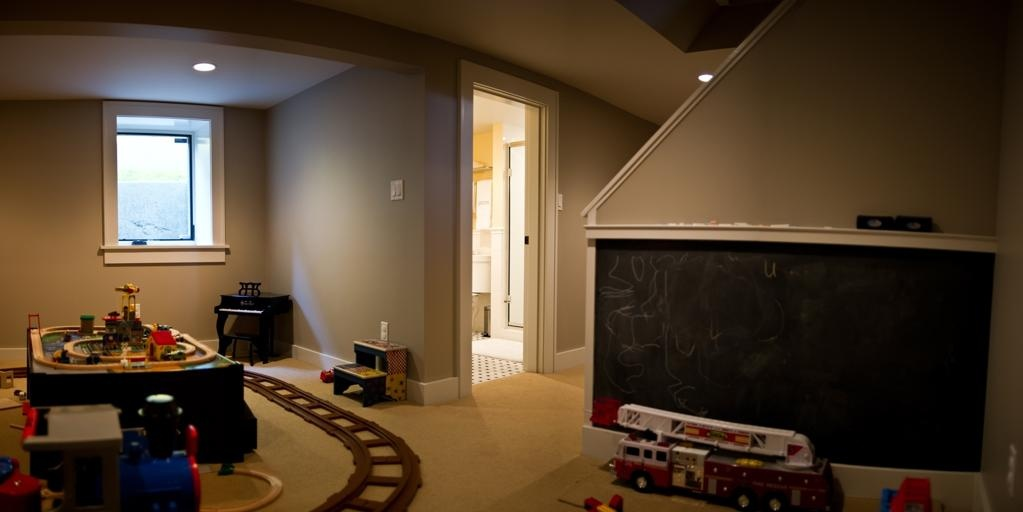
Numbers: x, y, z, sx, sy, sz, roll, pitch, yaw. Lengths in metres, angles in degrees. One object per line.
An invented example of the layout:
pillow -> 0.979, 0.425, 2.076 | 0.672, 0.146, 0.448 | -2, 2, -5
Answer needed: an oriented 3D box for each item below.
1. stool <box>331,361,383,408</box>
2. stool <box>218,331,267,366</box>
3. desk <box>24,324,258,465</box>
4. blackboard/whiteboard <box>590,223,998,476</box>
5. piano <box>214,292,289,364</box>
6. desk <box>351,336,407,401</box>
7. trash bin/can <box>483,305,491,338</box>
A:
stool -> -1.788, 1.487, 7.468 | 0.350, 0.275, 0.694 | 0, 4, -41
stool -> -3.615, 1.218, 8.687 | 0.746, 0.396, 0.469 | -1, -6, 37
desk -> -4.104, 1.232, 6.852 | 1.817, 0.637, 2.914 | 3, 1, -38
blackboard/whiteboard -> 2.724, 0.863, 5.789 | 2.953, 1.439, 0.250 | 2, 6, 19
piano -> -3.750, 0.918, 9.034 | 1.349, 1.016, 1.011 | -1, -2, 32
desk -> -1.592, 1.344, 7.605 | 0.456, 0.517, 0.730 | 12, -6, -28
trash bin/can -> -0.413, 1.061, 10.491 | 0.133, 0.510, 0.239 | -3, 3, -7
